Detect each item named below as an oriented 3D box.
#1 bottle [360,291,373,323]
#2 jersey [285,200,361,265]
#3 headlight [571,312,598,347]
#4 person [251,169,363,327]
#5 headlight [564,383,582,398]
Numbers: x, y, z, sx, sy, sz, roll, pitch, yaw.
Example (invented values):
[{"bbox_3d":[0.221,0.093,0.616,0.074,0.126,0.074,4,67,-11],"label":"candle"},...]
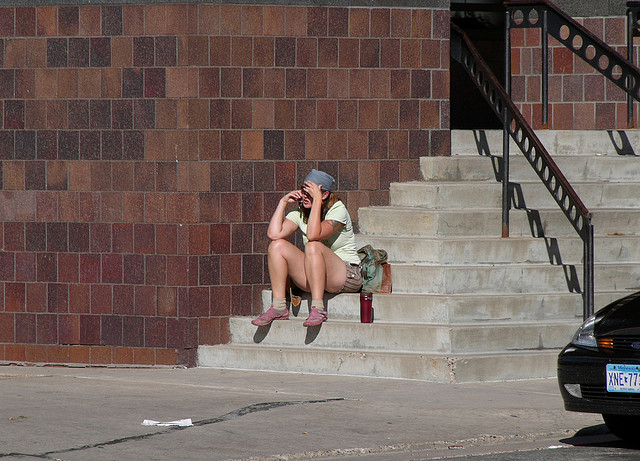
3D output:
[{"bbox_3d":[0.538,0.862,16.744,0.209,0.344,0.135,1,-6,-38],"label":"bottle"},{"bbox_3d":[0.129,0.042,17.174,0.405,0.716,0.718,-18,9,-32],"label":"jersey"},{"bbox_3d":[2.516,0.966,14.277,0.297,0.084,0.185,-21,11,7],"label":"headlight"},{"bbox_3d":[-0.111,0.213,16.851,1.134,1.737,0.648,-3,-4,1],"label":"person"},{"bbox_3d":[2.372,1.510,14.145,0.164,0.139,0.029,-6,-5,33],"label":"headlight"}]
